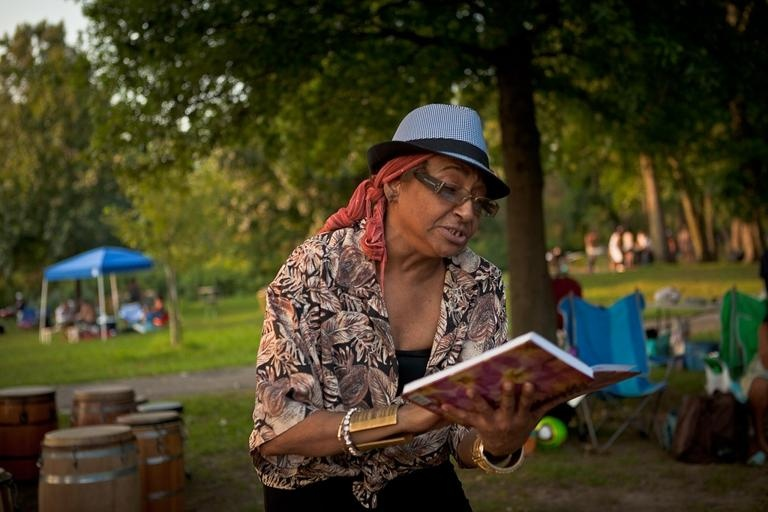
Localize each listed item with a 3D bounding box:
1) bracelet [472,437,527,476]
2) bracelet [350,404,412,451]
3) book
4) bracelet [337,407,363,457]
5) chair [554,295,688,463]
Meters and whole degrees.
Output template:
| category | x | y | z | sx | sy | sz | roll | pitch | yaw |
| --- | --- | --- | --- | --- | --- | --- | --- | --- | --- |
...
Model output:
| category | x | y | z | sx | sy | sz | roll | pitch | yaw |
| --- | --- | --- | --- | --- | --- | --- | --- | --- | --- |
| bracelet | 0.802 | 1.465 | 8.046 | 0.275 | 0.105 | 0.269 | 25 | 44 | 10 |
| bracelet | -0.075 | 1.160 | 7.807 | 0.370 | 0.303 | 0.289 | -6 | 18 | -8 |
| book | 0.828 | 0.845 | 7.635 | 0.899 | 0.377 | 0.839 | 1 | -22 | -46 |
| bracelet | -0.267 | 1.227 | 7.821 | 0.082 | 0.262 | 0.215 | -4 | -7 | -8 |
| chair | 2.263 | 1.066 | 11.510 | 0.968 | 1.754 | 1.253 | -3 | -18 | 10 |
